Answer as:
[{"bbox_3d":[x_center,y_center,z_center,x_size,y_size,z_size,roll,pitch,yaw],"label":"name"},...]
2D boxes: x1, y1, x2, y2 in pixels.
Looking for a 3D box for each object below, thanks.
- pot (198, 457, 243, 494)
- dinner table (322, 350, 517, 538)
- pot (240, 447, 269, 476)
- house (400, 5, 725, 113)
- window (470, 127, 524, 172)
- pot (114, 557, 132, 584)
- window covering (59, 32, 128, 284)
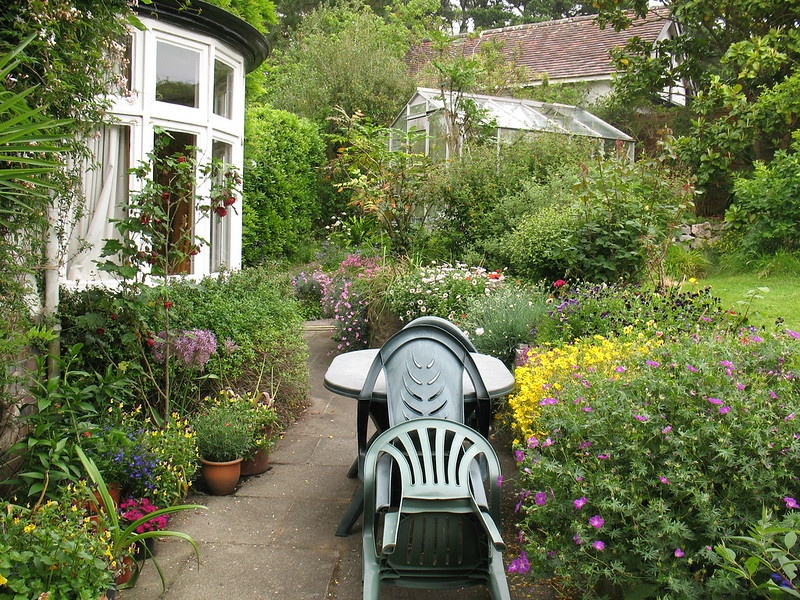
[{"bbox_3d":[-1.190,1.178,4.525,0.222,0.206,0.243,1,3,0],"label":"pot"},{"bbox_3d":[0.032,0.992,4.244,1.007,0.917,1.119,0,3,1],"label":"dinner table"},{"bbox_3d":[-1.027,1.149,4.844,0.157,0.154,0.183,1,7,-3],"label":"pot"},{"bbox_3d":[4.232,-7.068,19.501,6.728,2.453,4.840,-1,21,26],"label":"house"},{"bbox_3d":[1.404,-2.199,9.947,0.645,0.608,0.781,-5,30,0],"label":"window"},{"bbox_3d":[-1.479,1.448,3.649,0.082,0.146,0.110,-2,13,-6],"label":"pot"},{"bbox_3d":[-2.616,-0.958,5.842,0.219,1.181,0.196,7,-7,13],"label":"window covering"}]
